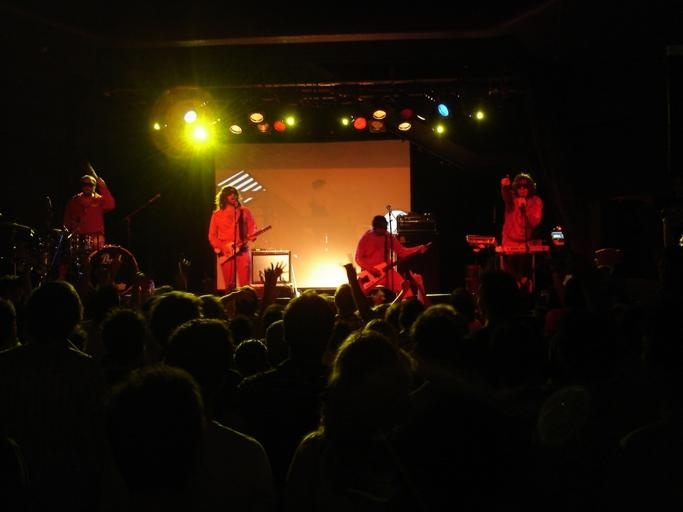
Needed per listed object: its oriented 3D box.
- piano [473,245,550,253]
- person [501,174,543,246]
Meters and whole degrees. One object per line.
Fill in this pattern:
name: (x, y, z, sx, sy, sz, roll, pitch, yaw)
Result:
piano: (2.463, -0.093, 8.543, 0.812, 0.111, 0.132, -1, -3, 6)
person: (2.621, -0.677, 8.952, 0.567, 1.080, 0.727, -1, -3, 16)
